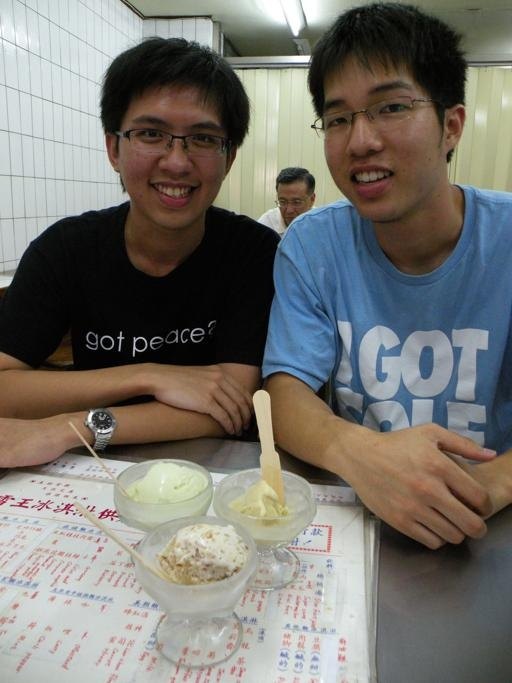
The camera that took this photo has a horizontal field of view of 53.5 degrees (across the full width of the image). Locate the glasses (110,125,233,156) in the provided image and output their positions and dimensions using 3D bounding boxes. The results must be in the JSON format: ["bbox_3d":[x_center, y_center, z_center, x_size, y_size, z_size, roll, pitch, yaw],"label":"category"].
[{"bbox_3d":[-0.218,-0.521,1.336,0.275,0.060,0.121,-2,15,-13],"label":"glasses"}]

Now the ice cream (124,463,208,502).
[{"bbox_3d":[-0.147,0.227,0.807,0.102,0.043,0.100,0,-10,16],"label":"ice cream"}]

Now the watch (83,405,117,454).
[{"bbox_3d":[-0.326,0.187,1.090,0.060,0.084,0.080,-2,-28,-13],"label":"watch"}]

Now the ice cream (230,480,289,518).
[{"bbox_3d":[0.009,0.218,0.726,0.047,0.027,0.062,1,-1,-6],"label":"ice cream"}]

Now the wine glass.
[{"bbox_3d":[-0.036,0.247,0.645,0.194,0.156,0.187,-1,17,-2],"label":"wine glass"}]

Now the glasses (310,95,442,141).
[{"bbox_3d":[0.244,-0.481,1.087,0.241,0.078,0.091,8,16,25],"label":"glasses"}]
